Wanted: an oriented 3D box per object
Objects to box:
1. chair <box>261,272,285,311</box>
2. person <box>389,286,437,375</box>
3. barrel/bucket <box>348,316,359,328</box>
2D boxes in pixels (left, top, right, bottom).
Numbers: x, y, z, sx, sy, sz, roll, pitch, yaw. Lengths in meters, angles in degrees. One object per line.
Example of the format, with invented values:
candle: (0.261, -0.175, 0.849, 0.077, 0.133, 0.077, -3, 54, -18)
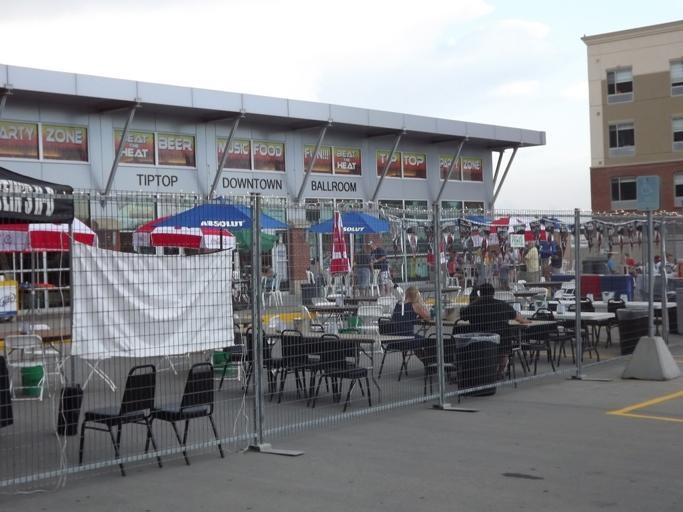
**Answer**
chair: (-0.939, 0.451, 11.890, 0.308, 0.637, 0.409, 1, -6, -12)
person: (1.158, 1.098, 14.143, 0.686, 1.435, 0.532, -8, 21, -26)
barrel/bucket: (0.173, 0.969, 13.131, 0.143, 0.310, 0.155, 0, 2, 0)
